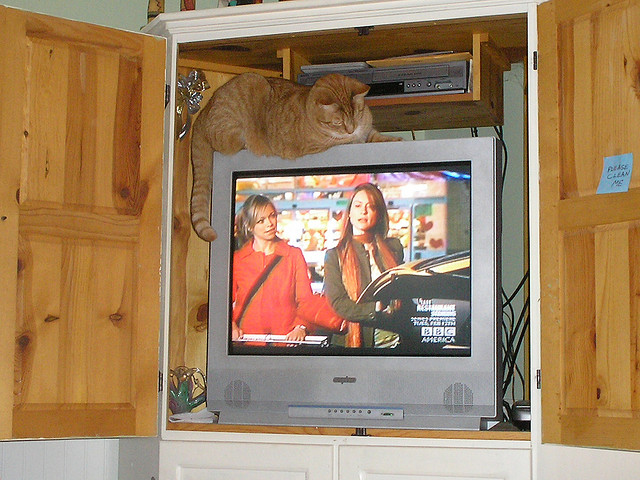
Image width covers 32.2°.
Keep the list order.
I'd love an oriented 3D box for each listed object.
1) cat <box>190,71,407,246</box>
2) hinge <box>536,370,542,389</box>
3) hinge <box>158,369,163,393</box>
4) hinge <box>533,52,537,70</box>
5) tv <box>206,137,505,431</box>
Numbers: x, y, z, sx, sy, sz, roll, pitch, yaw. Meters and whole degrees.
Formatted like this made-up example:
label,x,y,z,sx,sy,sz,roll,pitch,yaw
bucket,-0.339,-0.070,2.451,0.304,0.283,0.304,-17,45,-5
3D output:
label,x,y,z,sx,sy,sz,roll,pitch,yaw
cat,-0.106,-0.306,3.917,0.588,0.634,0.199,4,-24,6
hinge,0.655,0.420,3.323,0.017,0.056,0.010,-2,-8,20
hinge,-0.502,0.446,3.477,0.009,0.044,0.037,0,-4,-13
hinge,0.654,-0.547,3.385,0.012,0.052,0.007,-1,-8,17
tv,0.131,0.171,3.484,0.748,0.830,0.289,-1,-8,12
